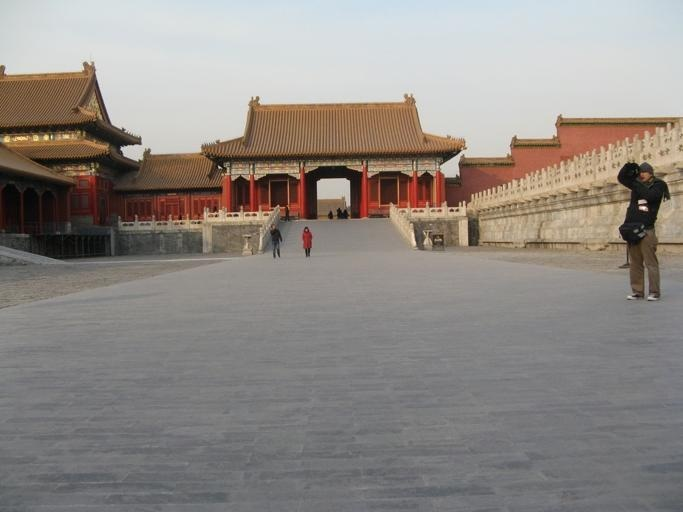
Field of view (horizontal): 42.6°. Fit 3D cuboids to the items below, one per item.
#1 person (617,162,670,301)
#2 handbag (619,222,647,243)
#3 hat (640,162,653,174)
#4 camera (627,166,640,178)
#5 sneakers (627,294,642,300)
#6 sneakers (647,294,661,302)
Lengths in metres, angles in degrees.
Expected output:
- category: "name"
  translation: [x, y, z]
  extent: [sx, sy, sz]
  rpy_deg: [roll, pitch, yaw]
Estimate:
- category: "person"
  translation: [3.456, -0.323, 10.151]
  extent: [0.529, 1.524, 0.814]
  rpy_deg: [3, 15, 18]
- category: "handbag"
  translation: [3.363, -0.270, 10.142]
  extent: [0.320, 0.251, 0.190]
  rpy_deg: [10, 19, 36]
- category: "hat"
  translation: [3.532, -1.024, 10.122]
  extent: [0.117, 0.115, 0.162]
  rpy_deg: [-1, 1, 17]
- category: "camera"
  translation: [3.403, -1.005, 10.208]
  extent: [0.109, 0.141, 0.067]
  rpy_deg: [9, -9, 8]
- category: "sneakers"
  translation: [3.364, 0.460, 10.064]
  extent: [0.178, 0.082, 0.058]
  rpy_deg: [5, 2, 3]
- category: "sneakers"
  translation: [3.531, 0.472, 9.936]
  extent: [0.059, 0.068, 0.172]
  rpy_deg: [-10, -18, 39]
